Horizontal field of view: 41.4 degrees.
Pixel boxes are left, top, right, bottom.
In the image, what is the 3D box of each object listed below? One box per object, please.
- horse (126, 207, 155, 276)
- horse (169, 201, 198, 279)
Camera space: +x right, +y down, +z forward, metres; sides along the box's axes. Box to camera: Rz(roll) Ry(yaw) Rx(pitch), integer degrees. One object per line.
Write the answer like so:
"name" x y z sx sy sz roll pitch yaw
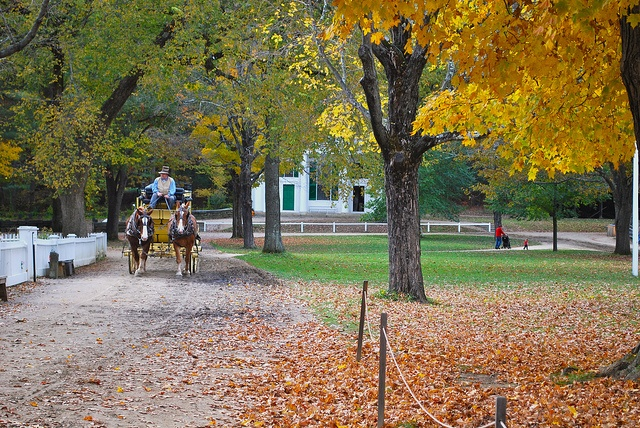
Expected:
"horse" -7.660 1.201 35.923 1.064 2.889 4.262 -2 -2 -16
"horse" -5.730 1.181 35.357 1.108 3.157 1.770 1 13 -4
